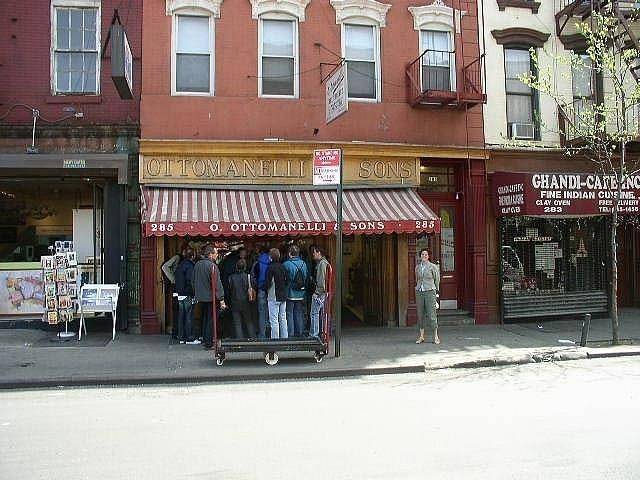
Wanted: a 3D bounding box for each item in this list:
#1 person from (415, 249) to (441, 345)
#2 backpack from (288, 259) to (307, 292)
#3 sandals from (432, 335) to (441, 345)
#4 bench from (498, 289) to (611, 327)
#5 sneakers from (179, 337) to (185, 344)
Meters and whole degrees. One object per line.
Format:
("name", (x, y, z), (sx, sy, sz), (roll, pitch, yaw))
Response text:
("person", (2.603, 1.352, 17.972), (0.585, 2.259, 0.963), (-2, -3, 8))
("backpack", (-0.450, 0.865, 16.956), (0.498, 0.896, 0.441), (0, 3, 1))
("sandals", (2.827, 2.386, 17.712), (0.190, 0.206, 0.127), (-3, 3, -15))
("bench", (6.657, 1.794, 20.892), (2.890, 0.774, 0.485), (-4, 1, 1))
("sneakers", (-3.293, 2.398, 17.722), (0.094, 0.140, 0.128), (1, -2, -12))
